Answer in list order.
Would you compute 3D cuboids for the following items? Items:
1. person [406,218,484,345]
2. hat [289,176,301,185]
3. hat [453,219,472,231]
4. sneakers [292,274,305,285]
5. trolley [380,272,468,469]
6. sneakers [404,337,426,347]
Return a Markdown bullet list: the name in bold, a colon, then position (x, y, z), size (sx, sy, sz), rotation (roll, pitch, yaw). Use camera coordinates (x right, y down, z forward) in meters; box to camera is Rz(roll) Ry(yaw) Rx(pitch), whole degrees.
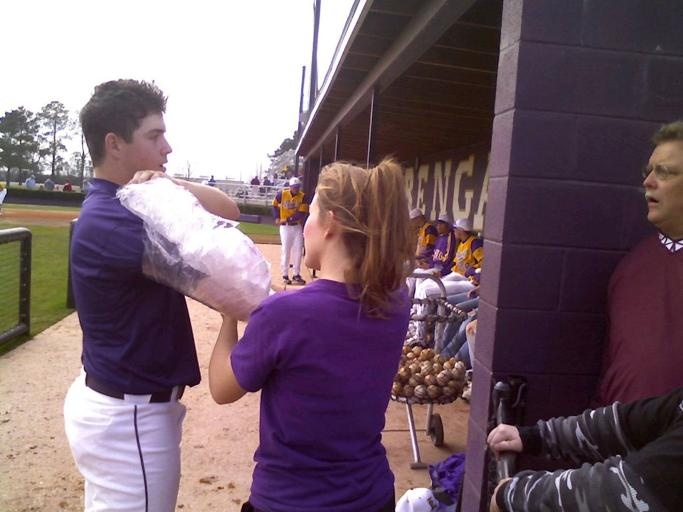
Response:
- **person**: position (1.271, 0.309, 6.680), size (0.798, 1.575, 0.611), rotation (-1, 9, -11)
- **hat**: position (-0.797, -1.294, 9.619), size (0.175, 0.165, 0.295), rotation (2, 5, -17)
- **hat**: position (1.688, -0.426, 7.605), size (0.226, 0.144, 0.174), rotation (14, 16, 14)
- **sneakers**: position (-0.723, 0.415, 9.324), size (0.104, 0.132, 0.288), rotation (-4, -1, -26)
- **trolley**: position (0.505, 0.764, 3.541), size (0.669, 1.101, 0.783), rotation (2, 4, 4)
- **sneakers**: position (0.508, 0.596, 3.774), size (0.150, 0.074, 0.214), rotation (1, -3, 8)
